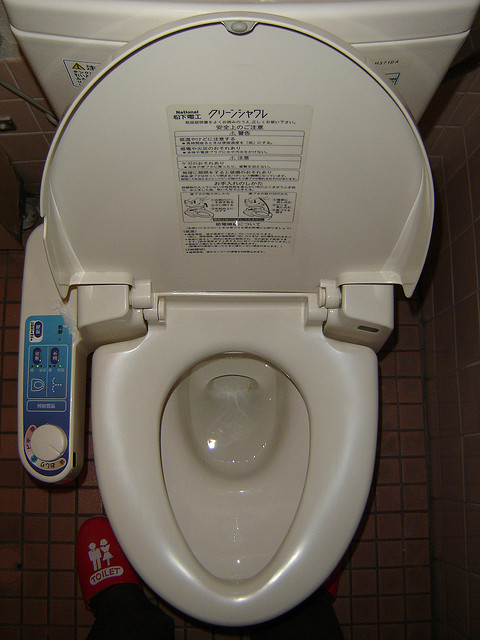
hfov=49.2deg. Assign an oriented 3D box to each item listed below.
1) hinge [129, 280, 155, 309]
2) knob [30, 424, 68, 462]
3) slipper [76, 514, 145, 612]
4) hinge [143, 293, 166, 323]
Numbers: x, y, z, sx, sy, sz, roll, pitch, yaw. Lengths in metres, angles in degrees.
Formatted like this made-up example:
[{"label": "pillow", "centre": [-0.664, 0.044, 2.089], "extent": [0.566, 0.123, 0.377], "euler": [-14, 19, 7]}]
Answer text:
[{"label": "hinge", "centre": [-0.140, -0.037, 0.752], "extent": [0.031, 0.032, 0.049], "euler": [-2, 83, -4]}, {"label": "knob", "centre": [-0.345, 0.221, 0.944], "extent": [0.061, 0.025, 0.061], "euler": [-1, 73, 0]}, {"label": "slipper", "centre": [-0.286, 0.499, 1.094], "extent": [0.131, 0.065, 0.175], "euler": [-17, 73, -5]}, {"label": "hinge", "centre": [-0.123, -0.015, 0.774], "extent": [0.030, 0.048, 0.048], "euler": [-2, 28, 0]}]
